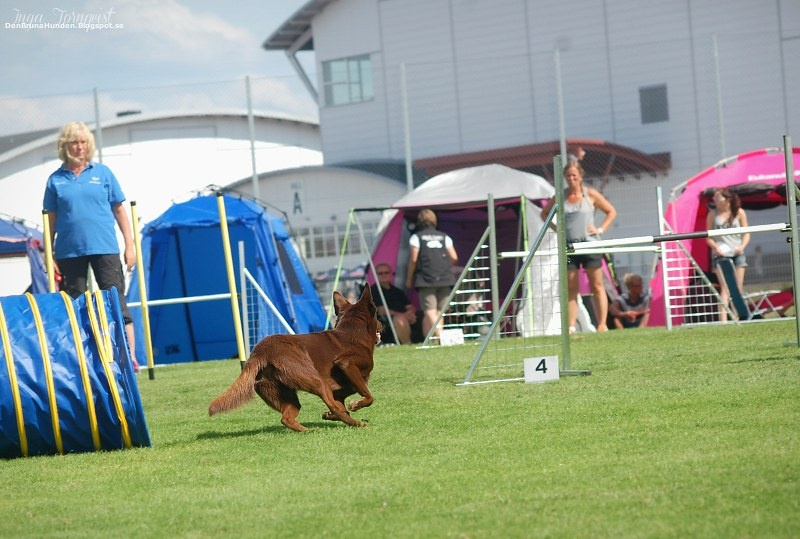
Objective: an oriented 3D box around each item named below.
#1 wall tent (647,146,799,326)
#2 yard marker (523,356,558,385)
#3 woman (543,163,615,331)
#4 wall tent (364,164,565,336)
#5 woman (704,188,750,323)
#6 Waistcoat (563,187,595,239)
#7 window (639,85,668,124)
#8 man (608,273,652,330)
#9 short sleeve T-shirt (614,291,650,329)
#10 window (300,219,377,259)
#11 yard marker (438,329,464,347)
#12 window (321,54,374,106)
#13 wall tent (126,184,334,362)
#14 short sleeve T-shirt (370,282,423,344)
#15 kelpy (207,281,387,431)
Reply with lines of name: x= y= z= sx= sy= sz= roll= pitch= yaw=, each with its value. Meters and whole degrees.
wall tent: x=5.455 y=-0.583 z=25.152 sx=3.051 sy=2.286 sz=2.956 roll=0 pitch=-1 yaw=4
yard marker: x=1.926 y=1.360 z=20.351 sx=0.393 sy=0.260 sz=0.052 roll=1 pitch=-13 yaw=-10
woman: x=2.899 y=-0.379 z=23.634 sx=1.018 sy=2.726 sz=1.819 roll=-7 pitch=-1 yaw=10
wall tent: x=1.104 y=-0.691 z=26.182 sx=3.891 sy=2.105 sz=3.649 roll=-1 pitch=6 yaw=27
woman: x=5.282 y=-0.272 z=24.052 sx=0.660 sy=2.167 sz=1.663 roll=-7 pitch=-1 yaw=12
Waistcoat: x=2.753 y=-0.873 z=23.582 sx=0.581 sy=0.733 sz=0.468 roll=-2 pitch=4 yaw=-15
window: x=5.263 y=-3.415 z=30.943 sx=0.813 sy=0.967 sz=0.091 roll=-4 pitch=0 yaw=28
man: x=3.852 y=0.511 z=25.135 sx=0.915 sy=1.166 sz=0.814 roll=0 pitch=-11 yaw=-1
short sleeve T-shirt: x=3.847 y=0.673 z=24.978 sx=0.568 sy=0.620 sz=0.553 roll=-1 pitch=-15 yaw=16
window: x=-1.294 y=-0.621 z=30.092 sx=1.372 sy=0.578 sz=0.016 roll=-5 pitch=2 yaw=-6
yard marker: x=0.833 y=1.071 z=23.852 sx=0.429 sy=0.272 sz=0.225 roll=0 pitch=-20 yaw=-4
window: x=-1.082 y=-4.148 z=33.033 sx=1.158 sy=1.091 sz=0.156 roll=-6 pitch=-16 yaw=9
wall tent: x=-2.843 y=0.094 z=26.138 sx=3.117 sy=2.544 sz=3.037 roll=-7 pitch=-1 yaw=2
short sleeve T-shirt: x=-0.046 y=0.706 z=24.191 sx=0.240 sy=0.936 sz=0.566 roll=-12 pitch=9 yaw=19
kelpy: x=-1.206 y=1.215 z=19.479 sx=2.903 sy=1.959 sz=0.832 roll=-2 pitch=-10 yaw=-36
